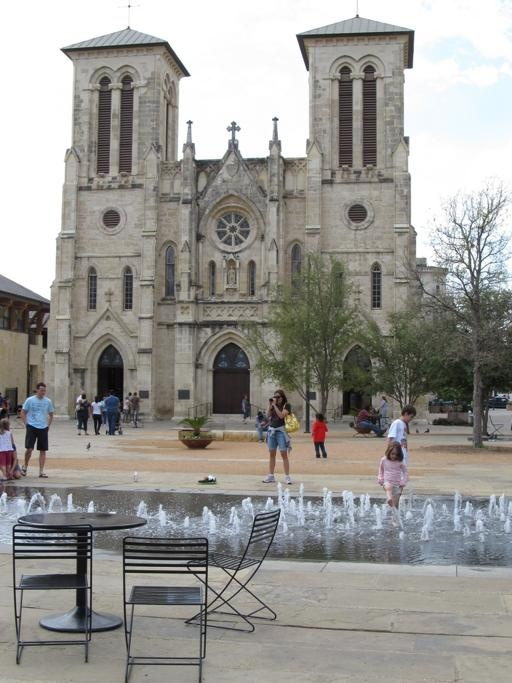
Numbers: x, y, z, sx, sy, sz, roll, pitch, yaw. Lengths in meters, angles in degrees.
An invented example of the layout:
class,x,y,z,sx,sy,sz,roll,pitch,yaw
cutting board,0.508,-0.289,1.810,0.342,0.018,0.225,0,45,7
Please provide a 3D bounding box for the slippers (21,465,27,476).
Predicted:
class,x,y,z,sx,sy,sz,roll,pitch,yaw
slippers,-3.946,2.231,19.564,0.145,0.115,0.690,3,-3,-12

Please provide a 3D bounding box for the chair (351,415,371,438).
class,x,y,z,sx,sy,sz,roll,pitch,yaw
chair,3.417,2.830,36.976,0.613,0.811,0.586,-1,-1,15

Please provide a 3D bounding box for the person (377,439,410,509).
class,x,y,z,sx,sy,sz,roll,pitch,yaw
person,1.687,1.660,13.995,0.319,0.829,0.877,0,-4,6

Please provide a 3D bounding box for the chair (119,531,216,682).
class,x,y,z,sx,sy,sz,roll,pitch,yaw
chair,-0.548,1.891,8.389,0.707,0.984,1.262,-1,5,-1

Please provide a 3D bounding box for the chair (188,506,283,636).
class,x,y,z,sx,sy,sz,roll,pitch,yaw
chair,-0.107,1.917,9.604,0.818,1.192,0.640,2,-6,15

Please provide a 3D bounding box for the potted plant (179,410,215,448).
class,x,y,z,sx,sy,sz,roll,pitch,yaw
potted plant,-1.464,2.264,28.870,0.868,1.028,0.935,8,-10,-35

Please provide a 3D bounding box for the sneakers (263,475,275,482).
class,x,y,z,sx,sy,sz,roll,pitch,yaw
sneakers,0.255,2.252,18.555,0.229,0.108,0.087,3,-5,-10

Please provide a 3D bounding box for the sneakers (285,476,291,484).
class,x,y,z,sx,sy,sz,roll,pitch,yaw
sneakers,0.531,2.243,18.349,0.111,0.155,0.352,-1,-10,-2
